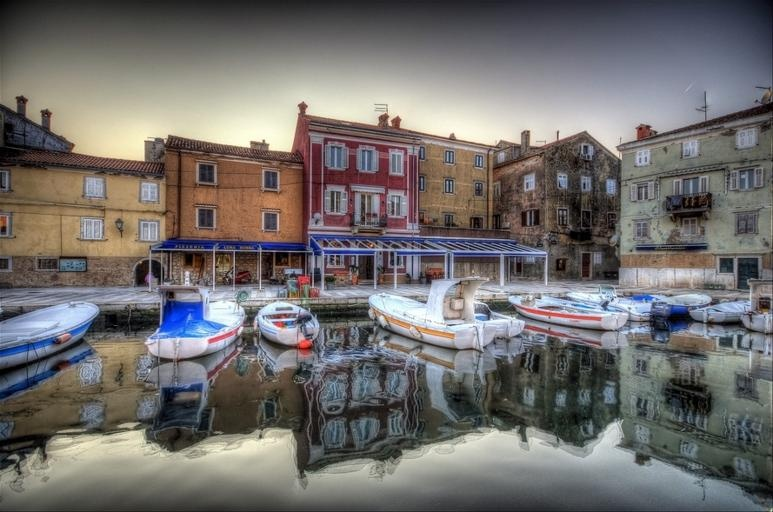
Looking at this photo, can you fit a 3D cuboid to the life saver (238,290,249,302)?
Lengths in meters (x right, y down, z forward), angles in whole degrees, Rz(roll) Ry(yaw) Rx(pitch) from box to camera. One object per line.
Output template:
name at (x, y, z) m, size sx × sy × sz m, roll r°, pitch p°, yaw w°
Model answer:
life saver at (-7.691, 2.211, 31.369) m, size 0.609 × 0.572 × 0.225 m, roll -31°, pitch -1°, yaw 4°
